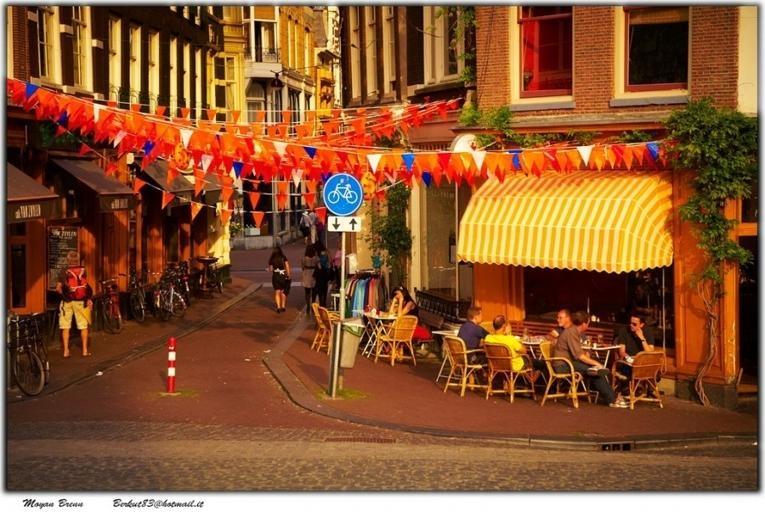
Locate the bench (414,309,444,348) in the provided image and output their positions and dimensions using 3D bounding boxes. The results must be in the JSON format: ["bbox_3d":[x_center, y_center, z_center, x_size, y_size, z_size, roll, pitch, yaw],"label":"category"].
[{"bbox_3d":[1.165,1.851,24.119,0.398,0.635,0.966,2,1,-11],"label":"bench"}]

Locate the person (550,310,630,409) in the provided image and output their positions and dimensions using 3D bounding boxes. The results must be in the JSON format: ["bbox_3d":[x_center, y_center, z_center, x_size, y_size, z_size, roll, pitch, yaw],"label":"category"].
[{"bbox_3d":[4.178,2.061,19.764,1.408,1.916,1.004,2,8,9],"label":"person"}]

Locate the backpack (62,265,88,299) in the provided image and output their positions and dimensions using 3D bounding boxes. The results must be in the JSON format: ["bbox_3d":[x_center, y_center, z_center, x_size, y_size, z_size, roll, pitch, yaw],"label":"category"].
[{"bbox_3d":[-7.251,0.650,22.563,0.540,0.773,0.306,-2,8,-20],"label":"backpack"}]

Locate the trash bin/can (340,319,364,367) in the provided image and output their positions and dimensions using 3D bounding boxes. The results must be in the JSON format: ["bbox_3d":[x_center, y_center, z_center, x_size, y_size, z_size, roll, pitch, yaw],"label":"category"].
[{"bbox_3d":[-0.662,1.786,19.681,0.438,1.025,0.319,1,8,-1],"label":"trash bin/can"}]

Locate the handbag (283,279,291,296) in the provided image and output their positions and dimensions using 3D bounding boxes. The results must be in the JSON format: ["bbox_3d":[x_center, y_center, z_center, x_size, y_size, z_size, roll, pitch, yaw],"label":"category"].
[{"bbox_3d":[-3.019,0.968,30.640,0.183,0.606,0.426,8,-2,-3],"label":"handbag"}]

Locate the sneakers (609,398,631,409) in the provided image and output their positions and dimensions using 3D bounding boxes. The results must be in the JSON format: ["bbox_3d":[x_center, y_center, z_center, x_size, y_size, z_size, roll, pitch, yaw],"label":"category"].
[{"bbox_3d":[4.812,2.990,19.450,0.425,0.205,0.163,-1,0,3],"label":"sneakers"}]
